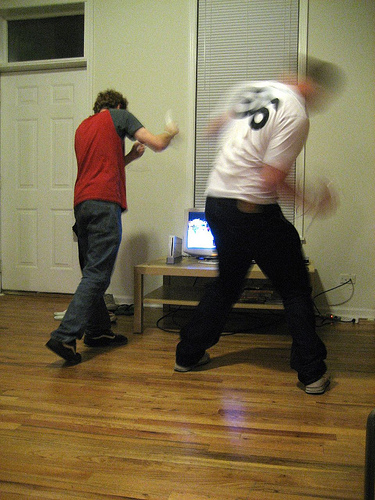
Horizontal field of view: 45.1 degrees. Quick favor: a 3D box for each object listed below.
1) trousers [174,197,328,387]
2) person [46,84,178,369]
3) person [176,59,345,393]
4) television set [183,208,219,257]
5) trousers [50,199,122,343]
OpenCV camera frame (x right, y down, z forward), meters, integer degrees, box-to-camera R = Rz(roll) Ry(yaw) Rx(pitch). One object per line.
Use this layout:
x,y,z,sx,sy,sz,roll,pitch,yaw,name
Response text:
0.243,0.173,1.853,0.638,0.763,0.305,2,3,14,trousers
-0.344,-0.153,2.304,0.566,1.387,0.627,1,3,-2,person
0.258,-0.073,1.790,0.637,1.269,0.352,2,3,16,person
0.156,-0.108,3.166,0.273,0.340,0.219,3,0,40,television set
-0.486,0.083,2.231,0.299,0.655,0.436,1,3,-7,trousers
